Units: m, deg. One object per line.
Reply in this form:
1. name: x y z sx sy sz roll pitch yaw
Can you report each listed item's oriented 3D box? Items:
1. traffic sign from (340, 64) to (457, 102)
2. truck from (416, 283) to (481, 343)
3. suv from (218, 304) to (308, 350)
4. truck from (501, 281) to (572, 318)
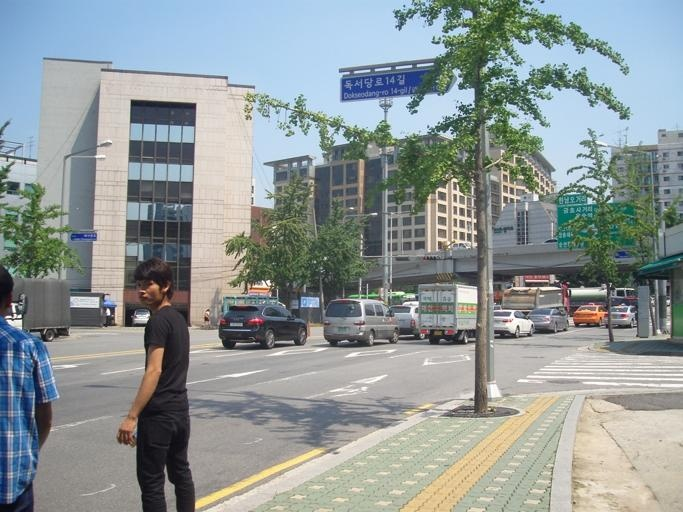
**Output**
1. traffic sign: 0.998 -4.334 19.307 2.327 1.056 0.535 -6 -7 41
2. truck: 4.456 2.360 32.765 2.268 2.793 2.702 0 -2 19
3. suv: -3.042 2.646 28.850 1.664 1.522 4.122 -1 -3 23
4. truck: 14.924 3.204 57.522 3.859 3.347 10.004 -2 -4 34
